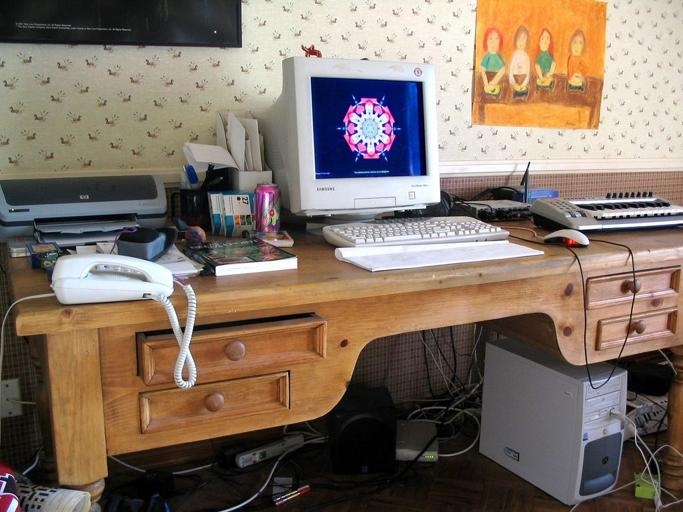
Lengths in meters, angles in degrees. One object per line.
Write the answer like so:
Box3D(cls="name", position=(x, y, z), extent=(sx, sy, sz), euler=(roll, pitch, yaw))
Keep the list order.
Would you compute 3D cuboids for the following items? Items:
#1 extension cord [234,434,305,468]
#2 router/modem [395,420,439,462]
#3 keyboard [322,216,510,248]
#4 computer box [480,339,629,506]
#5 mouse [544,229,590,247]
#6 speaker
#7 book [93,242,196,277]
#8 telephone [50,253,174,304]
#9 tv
Box3D(cls="extension cord", position=(-0.279, 0.755, 2.057), extent=(0.355, 0.069, 0.045), euler=(-9, 21, -37))
Box3D(cls="router/modem", position=(0.261, 0.712, 2.131), extent=(0.239, 0.109, 0.216), euler=(3, 10, -3))
Box3D(cls="keyboard", position=(0.205, -0.068, 1.584), extent=(0.403, 0.030, 0.273), euler=(-6, 12, -34))
Box3D(cls="computer box", position=(0.722, 0.571, 2.066), extent=(0.585, 0.563, 0.470), euler=(1, 11, -18))
Box3D(cls="mouse", position=(0.666, -0.053, 1.578), extent=(0.101, 0.028, 0.062), euler=(8, 10, 39))
Box3D(cls="speaker", position=(0.087, 0.646, 2.053), extent=(0.282, 0.255, 0.274), euler=(-1, 8, 1))
Box3D(cls="book", position=(-0.440, 0.010, 1.187), extent=(0.262, 0.042, 0.252), euler=(0, 10, -11))
Box3D(cls="telephone", position=(-0.466, 0.045, 1.093), extent=(0.221, 0.103, 0.040), euler=(-8, 20, -9))
Box3D(cls="tv", position=(-0.002, -0.370, 1.754), extent=(0.597, 0.480, 0.228), euler=(-4, 17, -31))
